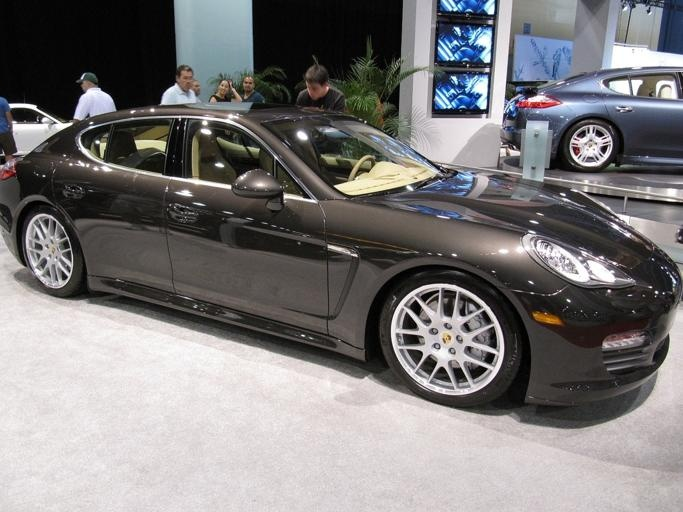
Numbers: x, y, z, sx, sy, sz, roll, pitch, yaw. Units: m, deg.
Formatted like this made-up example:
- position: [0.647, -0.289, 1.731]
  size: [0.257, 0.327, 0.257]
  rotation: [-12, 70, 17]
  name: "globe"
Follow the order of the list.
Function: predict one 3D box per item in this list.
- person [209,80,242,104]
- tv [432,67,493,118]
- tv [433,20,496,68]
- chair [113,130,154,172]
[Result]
- position: [-1.987, -2.888, 7.746]
  size: [0.411, 0.368, 0.968]
  rotation: [-4, 18, -16]
  name: "person"
- position: [2.325, -3.295, 9.055]
  size: [1.499, 0.851, 0.132]
  rotation: [-11, 19, -27]
  name: "tv"
- position: [2.445, -4.201, 8.843]
  size: [0.125, 0.777, 1.433]
  rotation: [-27, 38, -26]
  name: "tv"
- position: [-1.512, -0.746, 3.350]
  size: [0.310, 0.309, 0.383]
  rotation: [1, -1, -14]
  name: "chair"
